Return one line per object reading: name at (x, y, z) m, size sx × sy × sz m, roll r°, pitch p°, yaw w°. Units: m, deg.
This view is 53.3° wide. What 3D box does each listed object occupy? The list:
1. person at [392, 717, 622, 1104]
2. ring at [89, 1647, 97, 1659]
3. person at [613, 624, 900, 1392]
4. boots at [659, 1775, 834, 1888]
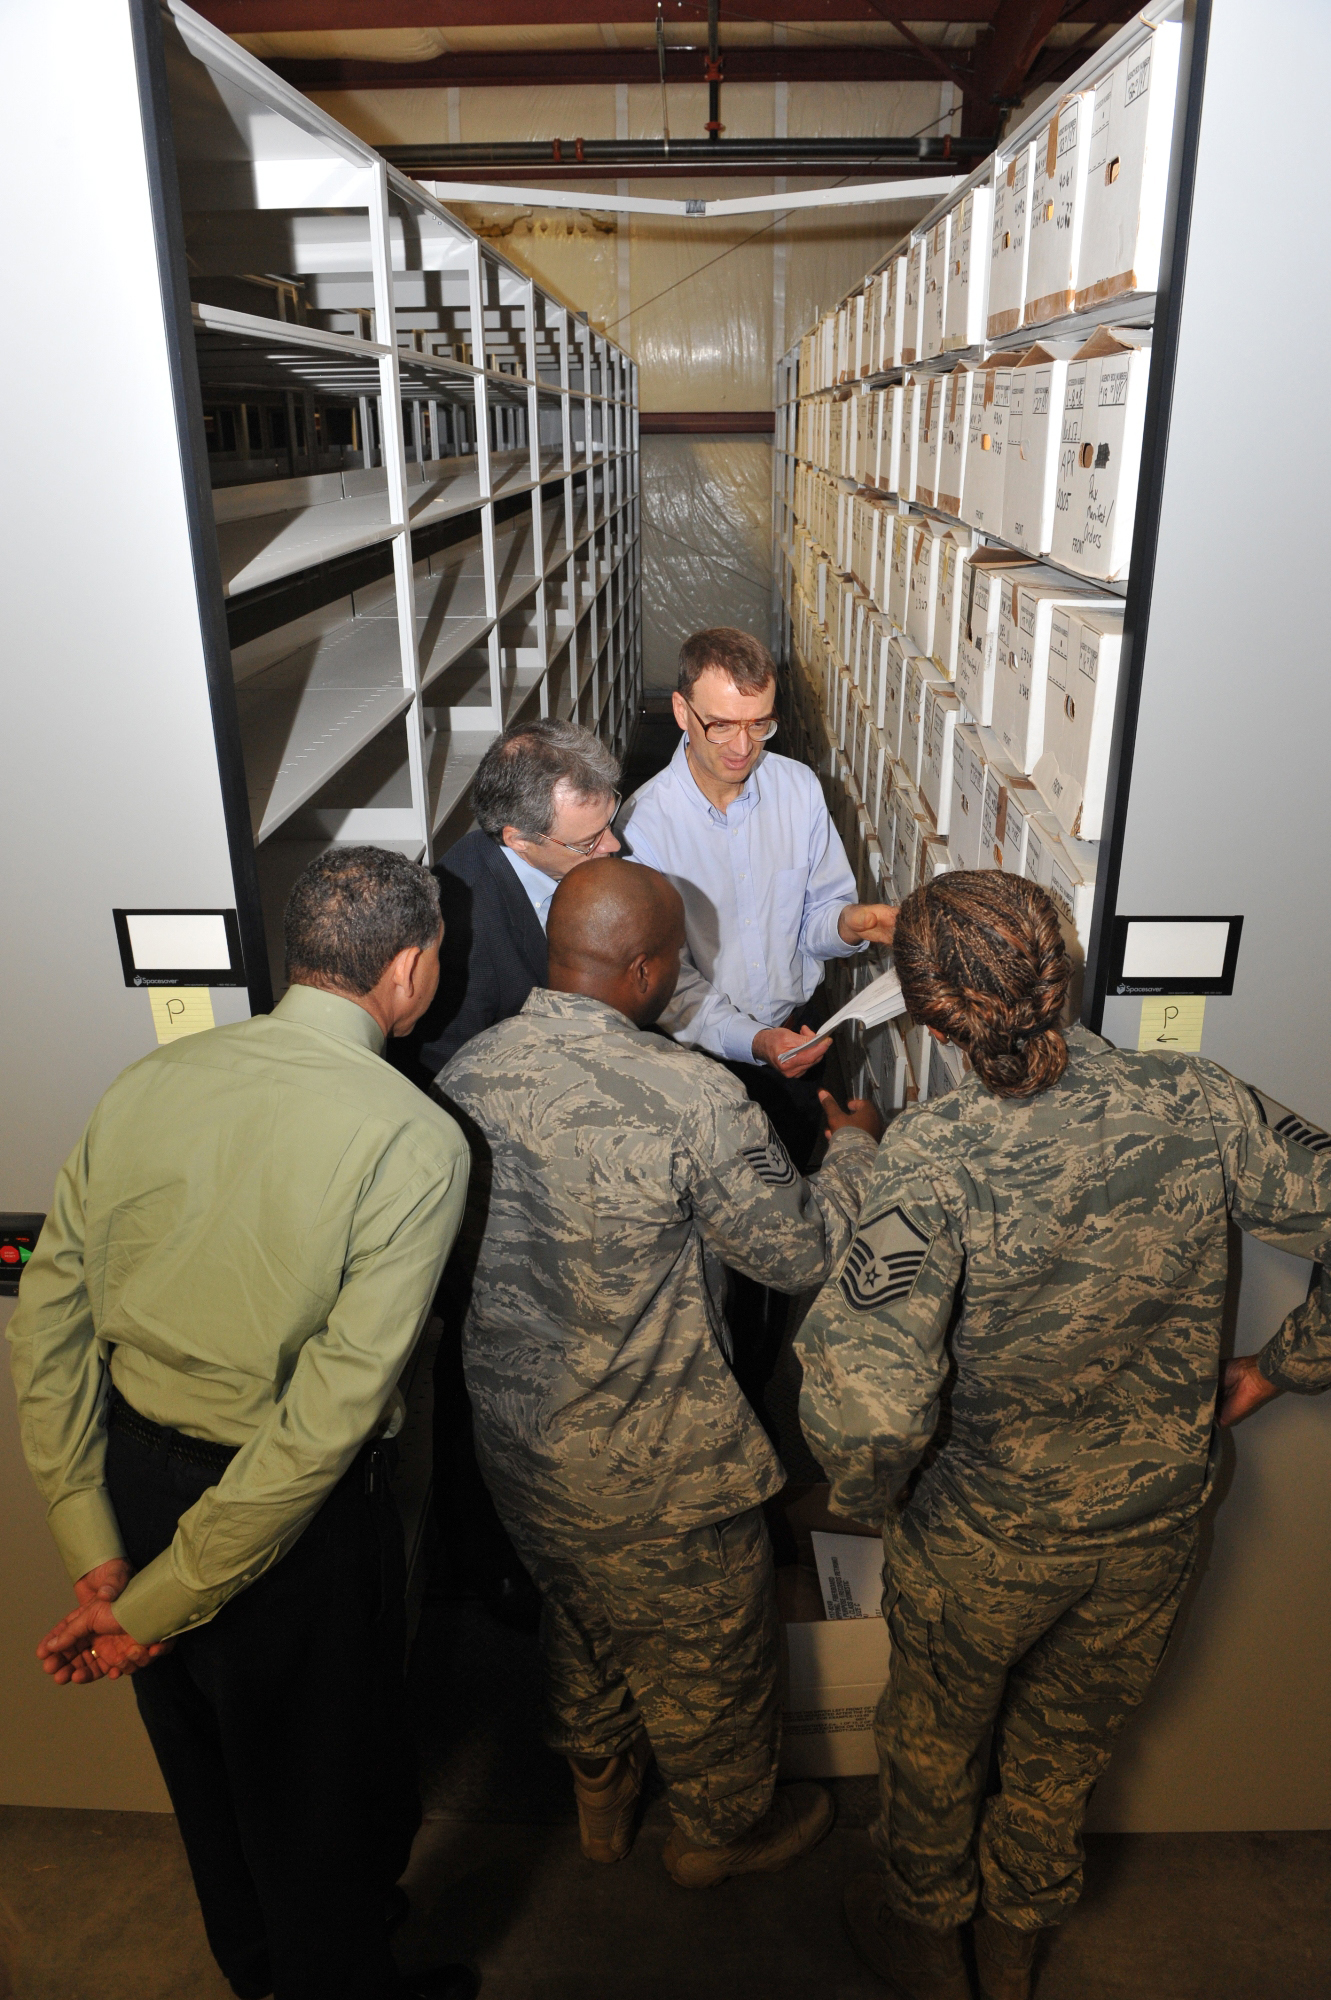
person at (-0.238, -0.130, 1.981) m, size 0.256 × 0.773 × 0.308 m, roll 7°, pitch 40°, yaw -20°
ring at (-0.629, 0.715, 1.450) m, size 0.004 × 0.014 × 0.014 m, roll 6°, pitch 0°, yaw -15°
person at (0.303, 0.179, 2.889) m, size 0.704 × 1.882 × 0.643 m, roll -2°, pitch 25°, yaw 7°
boots at (0.125, 1.284, 2.045) m, size 0.248 × 0.105 × 0.138 m, roll -6°, pitch 6°, yaw -27°
